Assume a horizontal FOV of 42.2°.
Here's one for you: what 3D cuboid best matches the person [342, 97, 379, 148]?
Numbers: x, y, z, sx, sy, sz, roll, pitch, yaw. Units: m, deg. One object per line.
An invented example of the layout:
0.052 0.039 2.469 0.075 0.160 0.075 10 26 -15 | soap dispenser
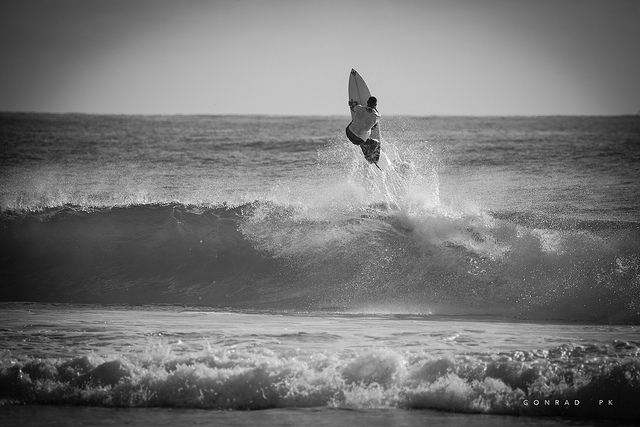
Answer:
1.262 -2.755 24.770 0.991 1.440 2.549 0 5 4 | person
